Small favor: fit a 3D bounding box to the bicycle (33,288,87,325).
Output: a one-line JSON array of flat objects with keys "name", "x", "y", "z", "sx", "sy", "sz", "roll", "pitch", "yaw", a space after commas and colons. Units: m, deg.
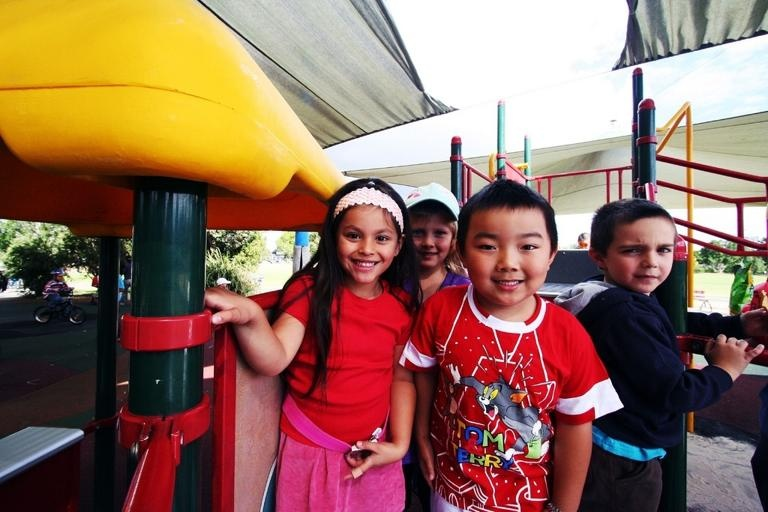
[{"name": "bicycle", "x": -4.947, "y": 0.769, "z": 8.024, "sx": 0.616, "sy": 0.545, "sz": 1.306, "roll": 1, "pitch": -1, "yaw": -33}]
